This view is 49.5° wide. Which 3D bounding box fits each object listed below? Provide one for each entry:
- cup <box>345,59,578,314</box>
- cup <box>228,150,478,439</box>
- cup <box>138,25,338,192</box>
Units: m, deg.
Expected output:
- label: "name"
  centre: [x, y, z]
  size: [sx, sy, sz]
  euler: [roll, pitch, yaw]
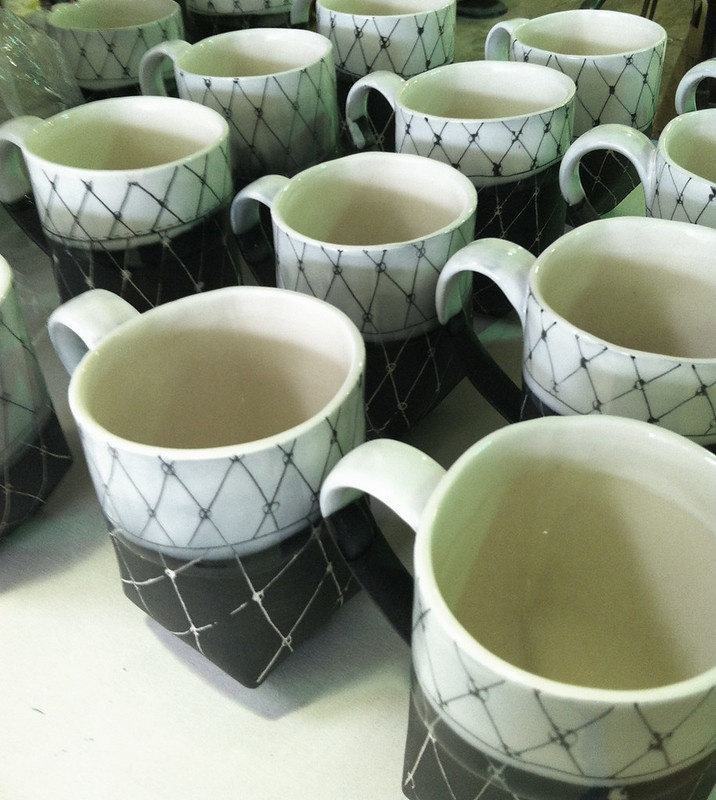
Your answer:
- label: "cup"
  centre: [0.058, -0.153, 0.495]
  size: [0.147, 0.147, 0.100]
  euler: [24, 46, 33]
- label: "cup"
  centre: [-0.009, -0.078, 0.412]
  size: [0.138, 0.114, 0.096]
  euler: [25, 51, 31]
- label: "cup"
  centre: [-0.079, -0.179, 0.518]
  size: [0.119, 0.098, 0.093]
  euler: [16, 44, 22]
